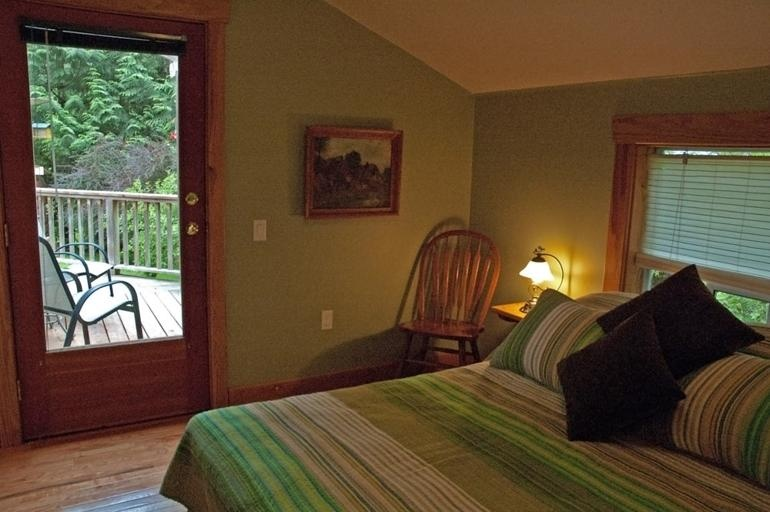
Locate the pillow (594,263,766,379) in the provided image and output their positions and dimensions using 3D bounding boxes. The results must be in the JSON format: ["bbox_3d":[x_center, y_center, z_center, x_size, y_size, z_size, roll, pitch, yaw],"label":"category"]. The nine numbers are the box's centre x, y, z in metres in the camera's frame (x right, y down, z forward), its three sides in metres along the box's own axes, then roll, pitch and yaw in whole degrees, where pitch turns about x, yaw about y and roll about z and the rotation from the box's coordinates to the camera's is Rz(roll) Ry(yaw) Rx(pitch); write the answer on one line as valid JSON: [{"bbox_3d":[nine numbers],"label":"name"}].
[{"bbox_3d":[1.493,0.325,2.728,0.590,0.627,0.188,54,1,31],"label":"pillow"}]

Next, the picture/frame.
[{"bbox_3d":[-0.278,-0.670,4.112,0.854,0.640,0.095,-2,7,-24],"label":"picture/frame"}]

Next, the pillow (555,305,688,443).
[{"bbox_3d":[1.072,0.590,2.532,0.592,0.550,0.297,-32,-38,24],"label":"pillow"}]

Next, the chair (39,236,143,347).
[{"bbox_3d":[-2.025,0.180,3.863,0.720,0.890,0.645,-5,12,-38],"label":"chair"}]
